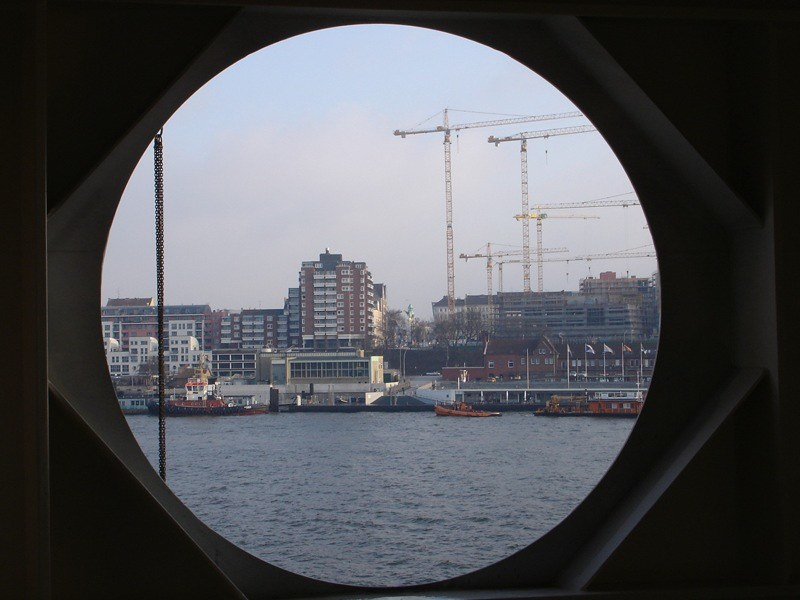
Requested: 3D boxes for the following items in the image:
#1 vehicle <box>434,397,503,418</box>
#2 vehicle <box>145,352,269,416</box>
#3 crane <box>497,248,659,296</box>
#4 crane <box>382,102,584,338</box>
[{"bbox_3d":[2.836,4.696,81.387,2.666,0.898,1.132,4,-11,3],"label":"vehicle"},{"bbox_3d":[-8.879,3.806,84.291,5.333,2.931,1.875,1,3,5],"label":"vehicle"},{"bbox_3d":[7.937,-1.607,97.368,13.314,2.182,0.973,0,5,40],"label":"crane"},{"bbox_3d":[4.066,-4.684,99.895,10.394,12.382,0.774,8,-41,-9],"label":"crane"}]
